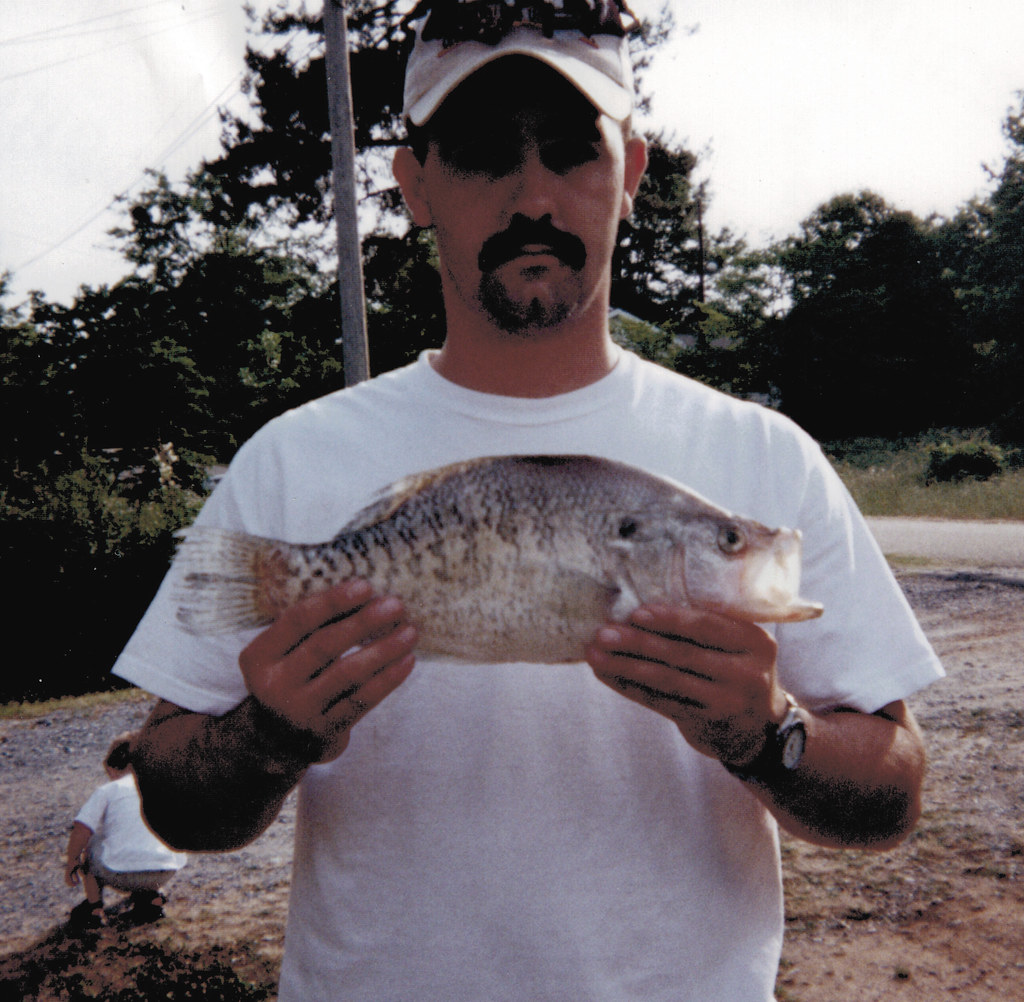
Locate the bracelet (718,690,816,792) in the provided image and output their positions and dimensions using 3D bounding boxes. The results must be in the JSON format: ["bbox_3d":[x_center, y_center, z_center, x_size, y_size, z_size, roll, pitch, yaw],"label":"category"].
[{"bbox_3d":[0.770,0.730,3.516,0.174,0.262,0.230,53,24,16],"label":"bracelet"}]
